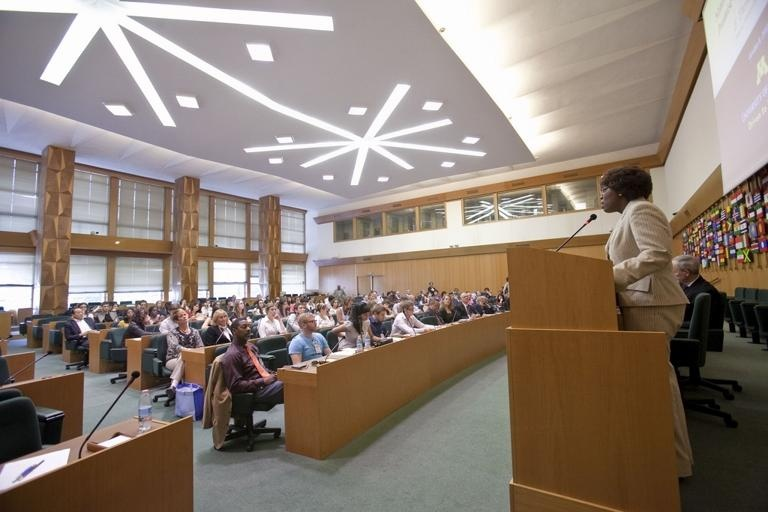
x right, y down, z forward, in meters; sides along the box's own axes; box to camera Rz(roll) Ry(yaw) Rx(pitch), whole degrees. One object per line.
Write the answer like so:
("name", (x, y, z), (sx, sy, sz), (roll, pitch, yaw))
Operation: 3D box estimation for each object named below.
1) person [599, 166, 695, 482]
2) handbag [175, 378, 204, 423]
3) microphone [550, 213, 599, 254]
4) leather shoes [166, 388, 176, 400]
("person", (2.874, -0.044, 5.266), (0.747, 2.022, 0.587), (-6, -6, 29))
("handbag", (-3.192, 2.322, 7.703), (0.540, 0.574, 0.324), (5, 13, 18))
("microphone", (6.535, -0.765, 16.114), (0.227, 0.240, 1.891), (23, -70, -48))
("leather shoes", (-3.701, 2.376, 8.189), (0.188, 0.127, 0.237), (11, -43, -27))
